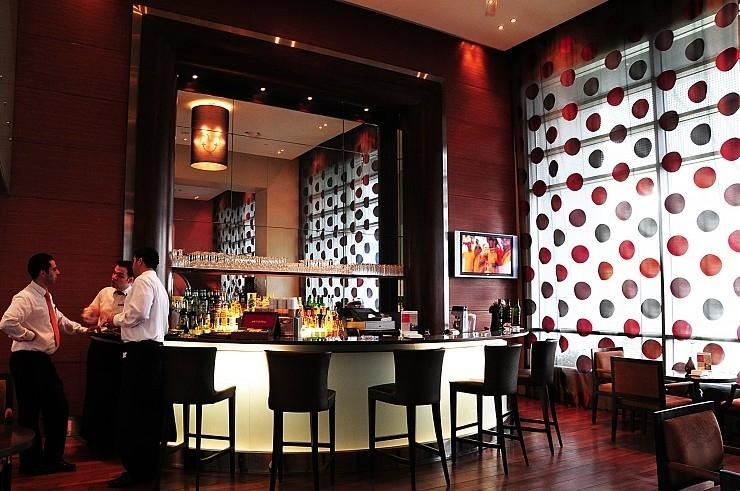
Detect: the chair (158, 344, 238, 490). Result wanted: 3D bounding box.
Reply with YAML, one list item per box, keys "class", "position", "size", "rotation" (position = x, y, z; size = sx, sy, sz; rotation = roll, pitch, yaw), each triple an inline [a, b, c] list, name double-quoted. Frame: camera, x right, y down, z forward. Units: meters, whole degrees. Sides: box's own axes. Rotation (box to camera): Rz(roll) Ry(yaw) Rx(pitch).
- class: "chair"
  position: [-2.026, 1.946, 6.607]
  size: [0.833, 1.586, 0.781]
  rotation: [-3, -8, 14]

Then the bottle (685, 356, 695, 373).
- class: "bottle"
  position: [4.692, 1.602, 7.727]
  size: [0.054, 0.222, 0.162]
  rotation: [0, 1, -20]

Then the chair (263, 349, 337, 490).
- class: "chair"
  position: [-0.763, 1.961, 6.493]
  size: [0.799, 1.564, 0.801]
  rotation: [0, -7, -6]

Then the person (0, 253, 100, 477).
- class: "person"
  position: [-4.058, 1.376, 6.711]
  size: [0.816, 2.534, 0.396]
  rotation: [3, -9, -31]

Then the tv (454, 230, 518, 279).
- class: "tv"
  position: [2.369, 0.178, 10.266]
  size: [1.362, 0.773, 0.124]
  rotation: [3, -8, -26]

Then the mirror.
- class: "mirror"
  position: [-1.516, -0.786, 9.479]
  size: [3.786, 3.782, 0.245]
  rotation: [2, -4, -28]

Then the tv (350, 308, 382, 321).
- class: "tv"
  position: [0.007, 0.913, 7.662]
  size: [0.482, 0.167, 0.283]
  rotation: [0, -8, -6]

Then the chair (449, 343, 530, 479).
- class: "chair"
  position: [1.774, 2.016, 7.335]
  size: [0.859, 1.494, 1.276]
  rotation: [-8, -10, 44]

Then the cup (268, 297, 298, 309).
- class: "cup"
  position: [-1.172, 0.797, 7.891]
  size: [0.270, 0.133, 0.191]
  rotation: [-2, -7, 18]
